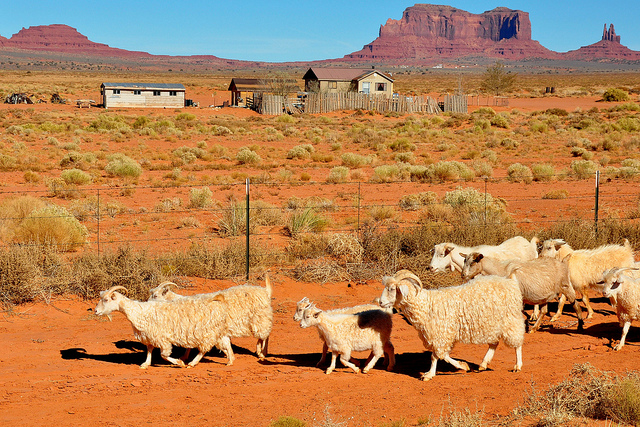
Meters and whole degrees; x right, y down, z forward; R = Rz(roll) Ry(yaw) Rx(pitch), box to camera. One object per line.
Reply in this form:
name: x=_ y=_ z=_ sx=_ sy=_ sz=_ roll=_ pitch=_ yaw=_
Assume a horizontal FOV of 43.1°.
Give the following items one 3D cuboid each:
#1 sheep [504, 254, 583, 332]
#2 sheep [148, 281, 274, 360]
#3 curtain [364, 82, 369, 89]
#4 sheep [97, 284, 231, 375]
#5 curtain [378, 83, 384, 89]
sheep: x=6.210 y=2.155 z=23.809 sx=3.064 sy=2.583 sz=1.049 roll=-3 pitch=6 yaw=-22
sheep: x=-3.039 y=2.999 z=22.655 sx=3.764 sy=2.491 sz=1.099 roll=-1 pitch=1 yaw=-17
curtain: x=4.967 y=-13.832 z=88.033 sx=0.615 sy=0.699 sz=0.502 roll=2 pitch=16 yaw=0
sheep: x=-4.156 y=3.110 z=22.626 sx=3.295 sy=2.255 sz=1.307 roll=-1 pitch=11 yaw=-4
curtain: x=6.559 y=-13.931 z=88.768 sx=0.557 sy=0.458 sz=0.039 roll=0 pitch=5 yaw=-2
